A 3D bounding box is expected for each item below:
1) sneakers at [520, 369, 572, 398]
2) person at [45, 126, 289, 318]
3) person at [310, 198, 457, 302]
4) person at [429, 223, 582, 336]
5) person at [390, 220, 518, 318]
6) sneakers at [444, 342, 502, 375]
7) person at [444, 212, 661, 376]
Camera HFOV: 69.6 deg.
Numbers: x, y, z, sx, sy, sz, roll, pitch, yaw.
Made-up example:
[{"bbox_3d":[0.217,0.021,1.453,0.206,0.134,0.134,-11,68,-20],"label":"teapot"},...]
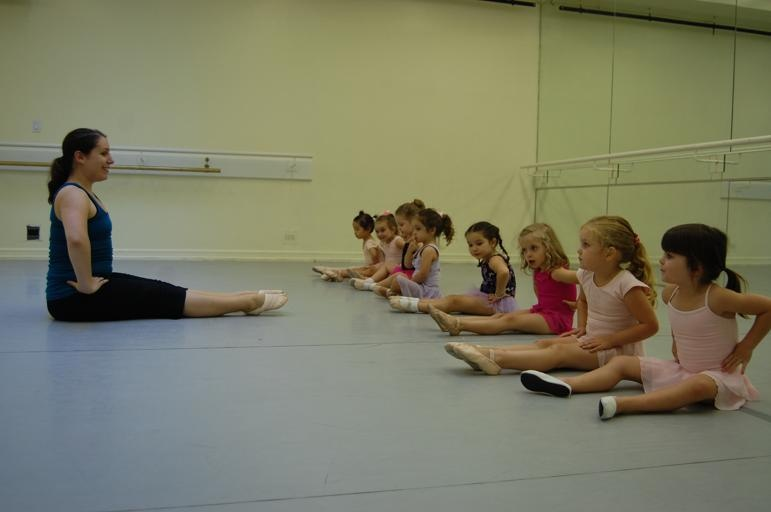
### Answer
[{"bbox_3d":[0.681,0.554,2.431,0.245,0.095,0.097,15,25,13],"label":"sneakers"},{"bbox_3d":[-1.430,-0.159,3.735,1.453,1.175,0.700,3,4,-25],"label":"person"},{"bbox_3d":[0.085,-0.018,4.658,0.843,0.847,0.691,3,-4,-3],"label":"person"},{"bbox_3d":[0.712,0.152,3.349,0.911,0.650,0.464,-2,2,-14],"label":"person"},{"bbox_3d":[0.457,0.107,3.738,0.852,0.619,0.440,-1,2,-9],"label":"person"},{"bbox_3d":[0.410,0.481,2.634,0.215,0.078,0.155,27,-6,-11],"label":"sneakers"},{"bbox_3d":[0.813,0.217,2.677,1.028,0.708,0.506,-6,8,-14],"label":"person"}]
